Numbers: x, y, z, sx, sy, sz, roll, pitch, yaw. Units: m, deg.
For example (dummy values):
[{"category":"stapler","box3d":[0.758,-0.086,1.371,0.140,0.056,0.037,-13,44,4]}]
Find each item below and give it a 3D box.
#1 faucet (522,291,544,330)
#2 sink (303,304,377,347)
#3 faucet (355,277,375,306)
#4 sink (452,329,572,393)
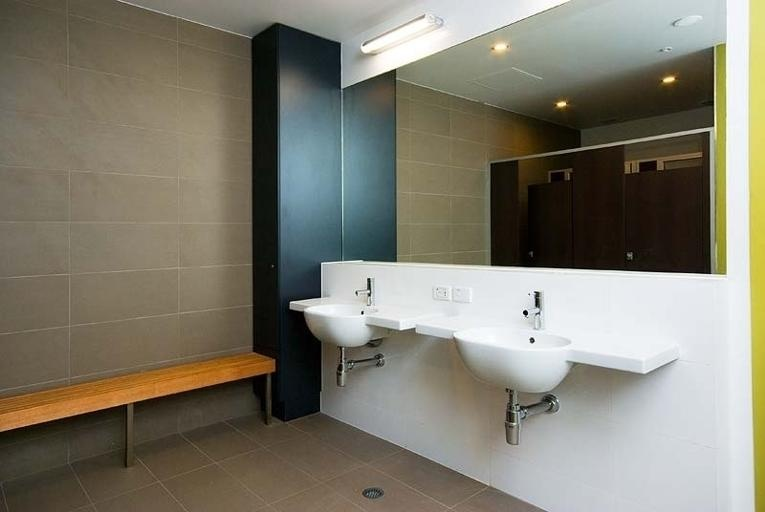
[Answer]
[{"category":"faucet","box3d":[0.971,0.355,3.513,0.125,0.233,0.216,5,13,16]},{"category":"sink","box3d":[-0.340,0.600,4.217,0.513,0.443,0.523,-1,13,-11]},{"category":"faucet","box3d":[-0.163,0.275,4.433,0.225,0.220,0.140,8,13,26]},{"category":"sink","box3d":[0.834,0.624,3.256,0.456,0.230,0.579,2,-1,-39]}]
